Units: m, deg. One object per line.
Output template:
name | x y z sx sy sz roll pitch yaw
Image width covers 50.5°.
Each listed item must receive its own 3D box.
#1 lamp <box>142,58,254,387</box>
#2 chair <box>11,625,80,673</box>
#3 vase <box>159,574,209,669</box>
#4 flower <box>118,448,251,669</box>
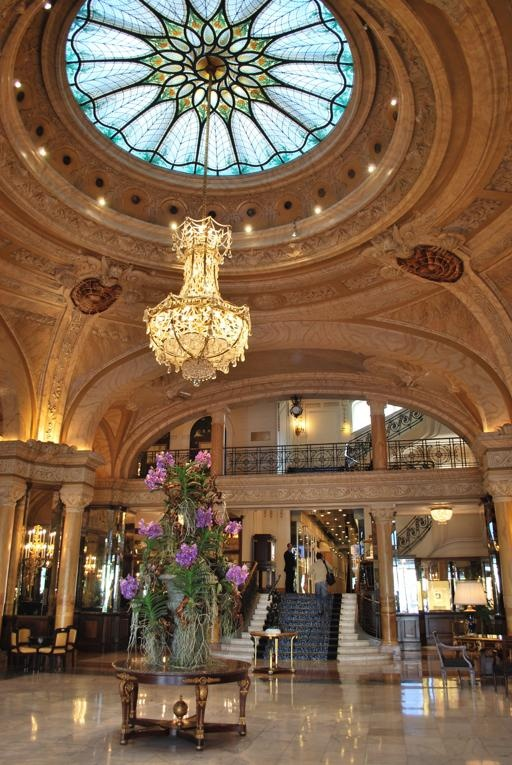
lamp | -0.707 -2.079 6.967 1.122 4.690 1.884 1 -19 -5
chair | -3.366 4.111 8.430 0.930 0.676 1.236 2 -19 -9
vase | -0.445 1.464 3.375 0.319 0.534 0.292 3 -19 -11
flower | -0.426 1.120 3.624 0.909 1.250 0.740 -3 -5 -31
